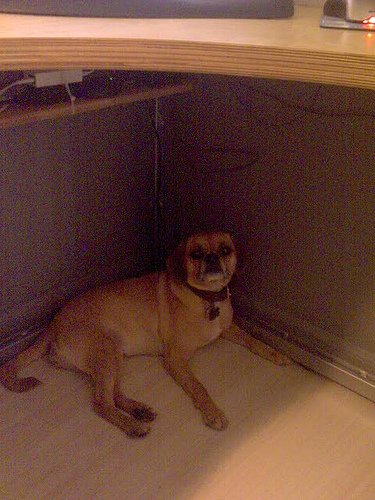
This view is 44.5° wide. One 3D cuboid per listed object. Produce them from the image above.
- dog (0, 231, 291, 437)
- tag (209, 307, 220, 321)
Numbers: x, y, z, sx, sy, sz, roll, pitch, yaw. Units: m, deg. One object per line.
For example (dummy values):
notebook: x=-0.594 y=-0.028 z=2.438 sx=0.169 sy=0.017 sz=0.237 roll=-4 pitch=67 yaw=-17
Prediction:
dog: x=-0.110 y=0.244 z=1.164 sx=0.656 sy=0.349 sz=0.417 roll=11 pitch=28 yaw=12
tag: x=0.068 y=0.162 z=1.170 sx=0.028 sy=0.032 sz=0.008 roll=1 pitch=28 yaw=-12
